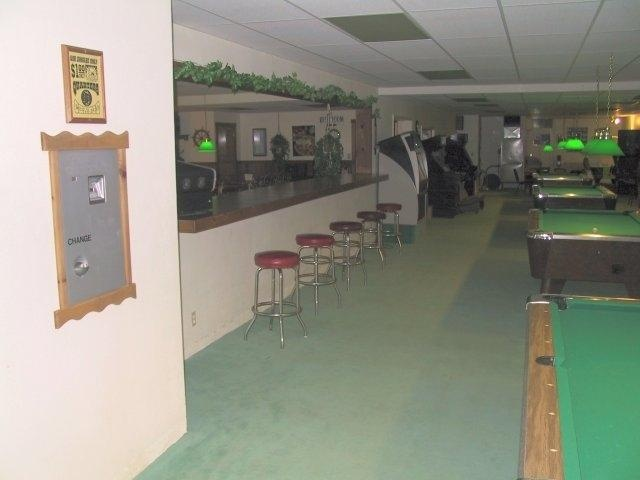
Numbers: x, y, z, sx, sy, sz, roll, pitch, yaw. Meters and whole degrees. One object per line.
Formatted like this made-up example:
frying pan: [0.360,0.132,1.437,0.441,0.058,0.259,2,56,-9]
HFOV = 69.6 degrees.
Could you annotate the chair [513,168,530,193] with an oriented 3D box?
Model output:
chair: [7.184,-2.140,16.478,0.566,0.761,1.770,-1,13,22]

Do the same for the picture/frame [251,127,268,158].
picture/frame: [-1.709,-2.726,13.006,0.550,0.800,0.063,1,14,30]

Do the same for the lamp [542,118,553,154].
lamp: [7.841,-3.671,16.027,0.363,1.001,4.640,1,13,28]

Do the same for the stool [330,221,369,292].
stool: [0.428,0.177,6.256,0.502,0.734,0.494,-10,7,-32]

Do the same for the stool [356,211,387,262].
stool: [0.756,-0.020,6.902,0.462,0.736,0.463,-2,-3,30]

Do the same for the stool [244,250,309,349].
stool: [-0.413,0.527,4.375,0.612,0.785,0.607,0,4,-6]

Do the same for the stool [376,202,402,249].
stool: [1.220,-0.244,7.677,0.398,0.538,0.403,-8,2,35]

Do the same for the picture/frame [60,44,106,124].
picture/frame: [-1.124,-0.732,2.202,0.056,0.344,0.248,-1,13,19]
